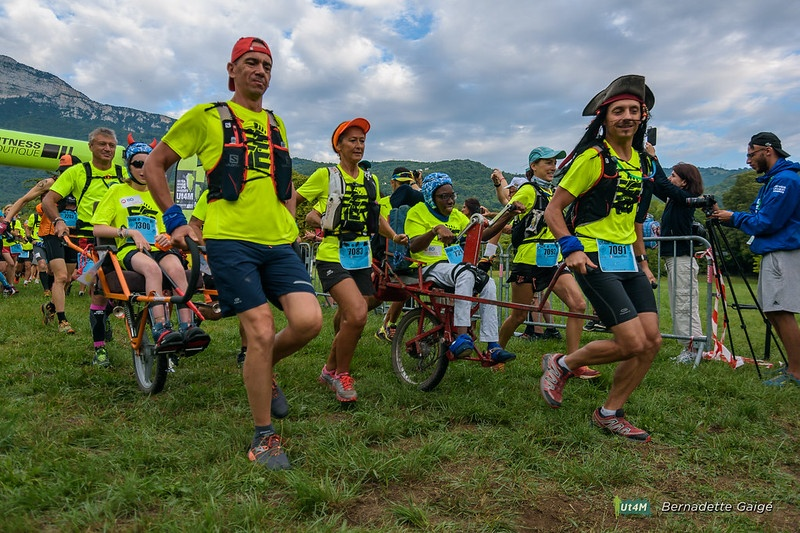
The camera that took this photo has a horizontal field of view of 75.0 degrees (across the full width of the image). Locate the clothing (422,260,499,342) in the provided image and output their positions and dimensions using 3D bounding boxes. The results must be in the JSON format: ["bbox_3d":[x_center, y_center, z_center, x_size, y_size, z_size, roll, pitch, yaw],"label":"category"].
[{"bbox_3d":[0.800,0.455,6.011,0.871,0.995,0.854,-12,-18,40],"label":"clothing"}]

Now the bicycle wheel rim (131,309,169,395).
[{"bbox_3d":[-2.562,0.880,5.353,0.267,0.779,0.742,1,-16,-36],"label":"bicycle wheel rim"}]

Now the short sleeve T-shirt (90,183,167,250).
[{"bbox_3d":[-3.147,-0.587,6.190,0.412,0.796,1.003,6,3,42],"label":"short sleeve T-shirt"}]

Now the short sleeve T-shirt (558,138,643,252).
[{"bbox_3d":[2.016,-0.600,5.081,1.058,1.087,0.618,2,12,-40],"label":"short sleeve T-shirt"}]

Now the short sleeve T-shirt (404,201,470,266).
[{"bbox_3d":[0.407,-0.357,6.043,0.790,0.696,0.428,3,-9,-28],"label":"short sleeve T-shirt"}]

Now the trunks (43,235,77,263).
[{"bbox_3d":[-5.399,-0.292,8.269,0.258,0.394,0.439,-27,-8,13],"label":"trunks"}]

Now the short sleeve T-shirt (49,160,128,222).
[{"bbox_3d":[-4.192,-0.974,7.286,0.550,0.904,1.010,13,8,35],"label":"short sleeve T-shirt"}]

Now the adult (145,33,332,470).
[{"bbox_3d":[-1.228,-0.209,4.297,1.331,3.341,0.809,7,9,26],"label":"adult"}]

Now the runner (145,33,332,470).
[{"bbox_3d":[-1.229,-0.209,4.299,1.333,3.341,0.812,7,9,26],"label":"runner"}]

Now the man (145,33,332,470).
[{"bbox_3d":[-1.229,-0.209,4.298,1.334,3.341,0.811,7,9,26],"label":"man"}]

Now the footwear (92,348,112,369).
[{"bbox_3d":[-3.522,1.080,6.159,0.133,0.148,0.350,1,-2,-38],"label":"footwear"}]

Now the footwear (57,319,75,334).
[{"bbox_3d":[-5.019,0.915,7.822,0.391,0.167,0.148,3,0,43],"label":"footwear"}]

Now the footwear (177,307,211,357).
[{"bbox_3d":[-1.994,0.678,5.116,0.226,0.360,0.535,-8,-22,-33],"label":"footwear"}]

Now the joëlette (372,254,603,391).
[{"bbox_3d":[0.890,0.611,5.985,2.608,1.442,1.317,-1,-3,11],"label":"joëlette"}]

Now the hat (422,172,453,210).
[{"bbox_3d":[0.363,-0.901,6.205,0.365,0.407,0.430,-6,9,-14],"label":"hat"}]

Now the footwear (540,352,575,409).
[{"bbox_3d":[1.511,1.106,5.106,0.293,0.601,0.225,-16,-4,38],"label":"footwear"}]

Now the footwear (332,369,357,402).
[{"bbox_3d":[-0.575,1.223,5.352,0.210,0.266,0.424,0,9,-13],"label":"footwear"}]

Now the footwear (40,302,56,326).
[{"bbox_3d":[-5.669,0.775,8.402,0.199,0.393,0.161,-1,10,6],"label":"footwear"}]

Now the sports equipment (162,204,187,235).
[{"bbox_3d":[-1.799,-0.374,4.158,0.159,0.229,0.275,-1,9,-25],"label":"sports equipment"}]

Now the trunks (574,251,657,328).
[{"bbox_3d":[1.998,0.276,4.745,0.650,0.506,0.333,1,9,-12],"label":"trunks"}]

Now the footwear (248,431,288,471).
[{"bbox_3d":[-1.020,1.427,4.041,0.250,0.213,0.310,-3,10,-32],"label":"footwear"}]

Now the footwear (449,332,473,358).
[{"bbox_3d":[0.622,0.834,5.498,0.185,0.203,0.279,-19,-24,-8],"label":"footwear"}]

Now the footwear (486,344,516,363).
[{"bbox_3d":[1.053,0.926,5.551,0.130,0.150,0.342,4,-11,-42],"label":"footwear"}]
